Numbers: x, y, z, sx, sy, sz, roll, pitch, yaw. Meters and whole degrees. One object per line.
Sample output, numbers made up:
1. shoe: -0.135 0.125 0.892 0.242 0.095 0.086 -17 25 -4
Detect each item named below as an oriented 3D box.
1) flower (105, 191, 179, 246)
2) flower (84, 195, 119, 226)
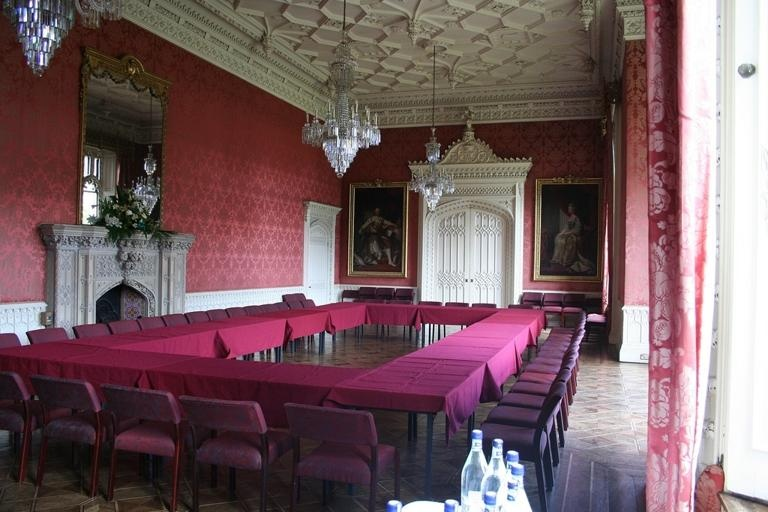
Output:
1. flower: -4.053 -0.577 9.488 0.722 0.494 0.773 5 11 -5
2. flower: -4.450 -0.716 9.346 0.398 0.452 0.164 7 -1 13
